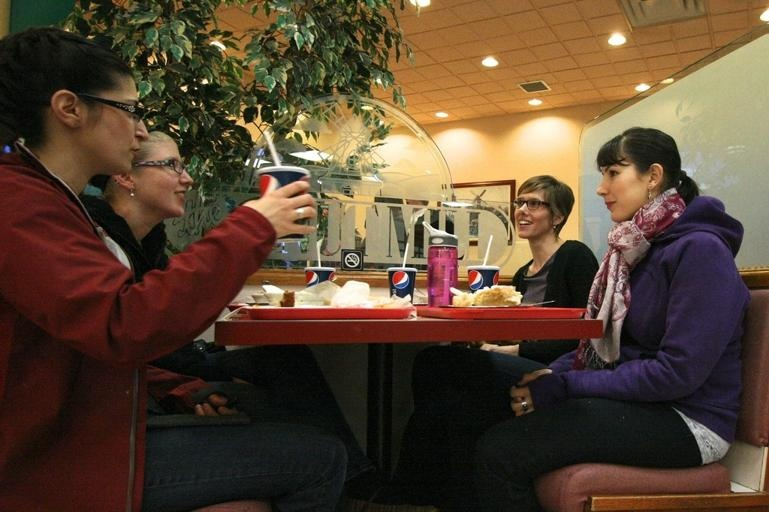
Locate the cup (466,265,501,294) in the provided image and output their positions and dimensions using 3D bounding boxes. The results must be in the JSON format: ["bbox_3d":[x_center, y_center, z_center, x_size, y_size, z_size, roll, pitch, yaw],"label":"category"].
[{"bbox_3d":[0.358,0.086,2.098,0.110,0.075,0.104,2,-1,0],"label":"cup"}]

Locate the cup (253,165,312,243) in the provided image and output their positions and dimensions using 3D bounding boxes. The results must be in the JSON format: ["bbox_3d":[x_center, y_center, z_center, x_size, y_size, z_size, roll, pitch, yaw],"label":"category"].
[{"bbox_3d":[-0.267,-0.160,1.555,0.176,0.115,0.164,-1,-1,0],"label":"cup"}]

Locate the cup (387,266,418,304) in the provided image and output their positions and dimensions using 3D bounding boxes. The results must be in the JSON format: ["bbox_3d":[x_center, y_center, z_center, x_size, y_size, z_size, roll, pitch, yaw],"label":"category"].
[{"bbox_3d":[0.064,0.103,1.984,0.124,0.118,0.123,-2,-8,0],"label":"cup"}]

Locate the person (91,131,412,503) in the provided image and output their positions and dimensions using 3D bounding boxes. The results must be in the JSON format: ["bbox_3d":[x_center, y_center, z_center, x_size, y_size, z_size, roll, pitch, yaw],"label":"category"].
[{"bbox_3d":[-0.228,0.270,2.430,1.606,1.608,0.771,-5,-3,-18],"label":"person"}]

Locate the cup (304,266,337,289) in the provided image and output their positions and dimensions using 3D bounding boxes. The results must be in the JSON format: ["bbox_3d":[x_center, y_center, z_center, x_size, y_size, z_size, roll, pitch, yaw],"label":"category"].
[{"bbox_3d":[-0.238,0.083,2.116,0.103,0.064,0.094,2,-3,0],"label":"cup"}]
